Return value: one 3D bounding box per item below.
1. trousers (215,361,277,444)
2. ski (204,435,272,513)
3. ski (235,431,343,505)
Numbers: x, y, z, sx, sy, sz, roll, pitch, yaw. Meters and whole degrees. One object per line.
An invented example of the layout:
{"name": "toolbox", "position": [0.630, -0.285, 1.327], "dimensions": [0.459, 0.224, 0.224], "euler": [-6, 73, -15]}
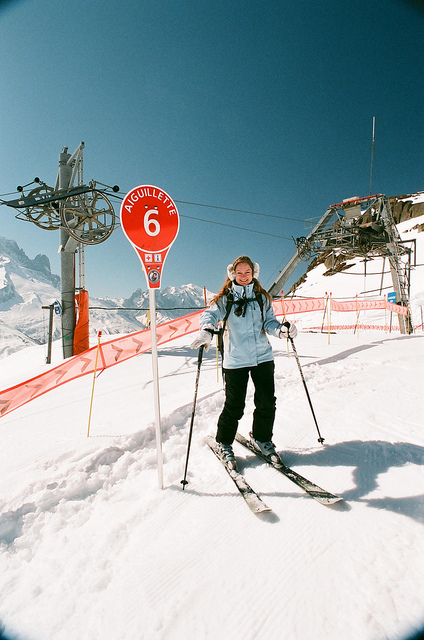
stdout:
{"name": "trousers", "position": [0.331, 0.711, 4.157], "dimensions": [0.547, 1.250, 0.374], "euler": [-7, 28, -12]}
{"name": "ski", "position": [0.195, 1.262, 3.867], "dimensions": [0.168, 0.134, 1.450], "euler": [-6, 7, -12]}
{"name": "ski", "position": [0.515, 1.219, 4.239], "dimensions": [0.220, 0.181, 2.115], "euler": [-6, 4, -20]}
